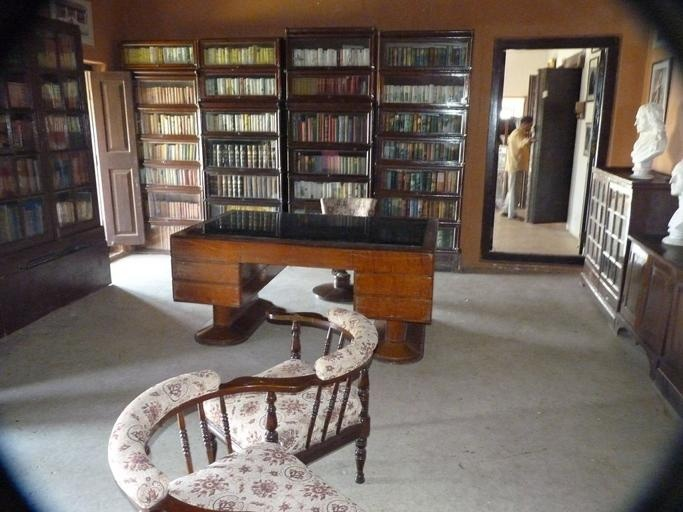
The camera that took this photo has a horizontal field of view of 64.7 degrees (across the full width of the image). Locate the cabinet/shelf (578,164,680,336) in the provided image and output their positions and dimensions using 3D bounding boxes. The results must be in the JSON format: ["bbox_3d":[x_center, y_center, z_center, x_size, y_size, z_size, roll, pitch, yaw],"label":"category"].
[{"bbox_3d":[2.542,-0.041,4.711,0.645,1.280,1.509,5,20,14],"label":"cabinet/shelf"}]

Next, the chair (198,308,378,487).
[{"bbox_3d":[-0.217,0.806,3.179,1.174,0.971,1.111,1,11,-2],"label":"chair"}]

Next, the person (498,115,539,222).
[{"bbox_3d":[2.929,-1.472,8.918,0.396,1.665,0.807,6,17,15],"label":"person"}]
